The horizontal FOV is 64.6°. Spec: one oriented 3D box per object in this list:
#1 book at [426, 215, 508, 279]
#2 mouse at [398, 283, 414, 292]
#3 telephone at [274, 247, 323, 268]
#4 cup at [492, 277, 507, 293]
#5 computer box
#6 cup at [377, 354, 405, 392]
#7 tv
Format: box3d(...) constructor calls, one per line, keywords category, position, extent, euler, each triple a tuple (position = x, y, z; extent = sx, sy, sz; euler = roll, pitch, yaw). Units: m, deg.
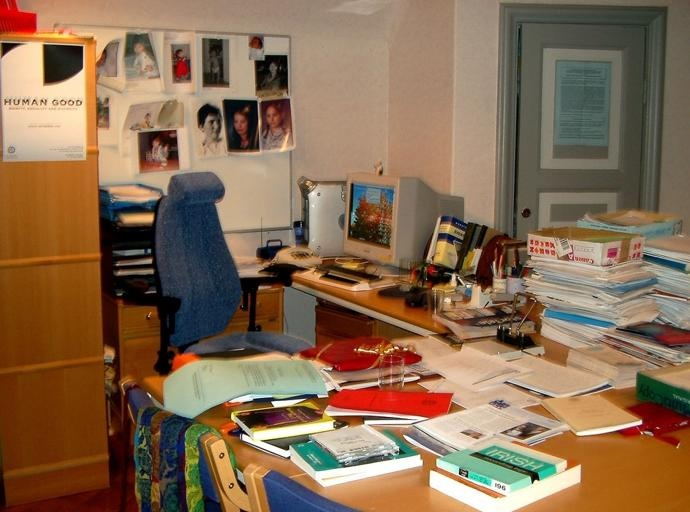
box3d(category="book", position=(0.672, -0.061, 3.114), extent=(0.451, 0.135, 0.321), euler=(-4, -11, -32))
box3d(category="mouse", position=(0.338, 0.170, 3.031), extent=(0.050, 0.017, 0.052), euler=(-10, 15, -43))
box3d(category="telephone", position=(-0.301, 0.007, 3.615), extent=(0.191, 0.062, 0.186), euler=(-10, 19, -37))
box3d(category="cup", position=(0.779, 0.146, 2.760), extent=(0.085, 0.075, 0.074), euler=(3, 3, 16))
box3d(category="computer box", position=(-0.134, -0.272, 3.890), extent=(0.481, 0.456, 0.477), euler=(6, 11, 15))
box3d(category="cup", position=(0.147, 0.366, 1.731), extent=(0.108, 0.096, 0.097), euler=(-3, 10, -12))
box3d(category="tv", position=(0.298, -0.238, 3.463), extent=(0.676, 0.531, 0.631), euler=(-9, 13, -36))
